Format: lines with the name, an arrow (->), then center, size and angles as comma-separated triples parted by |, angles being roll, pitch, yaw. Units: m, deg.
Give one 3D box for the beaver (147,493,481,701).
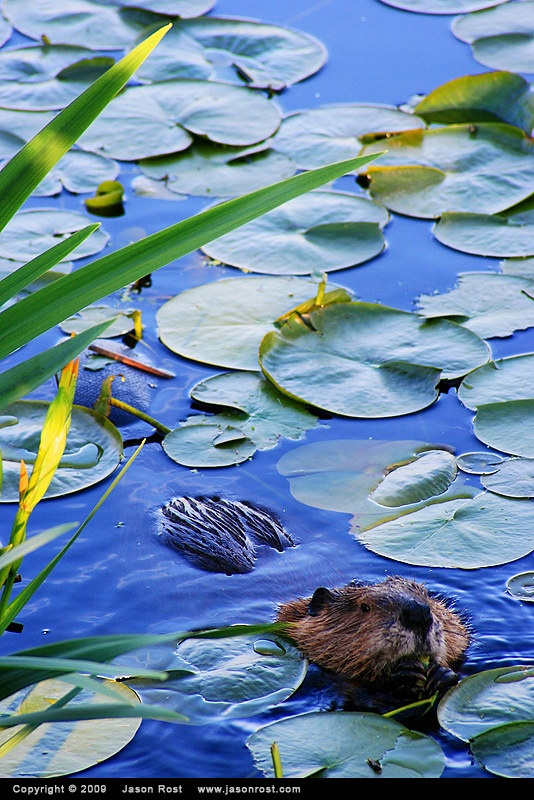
beaver -> 0.055, 0.500, 2.267 | 1.020, 0.274, 0.320 | 20, 34, 40
